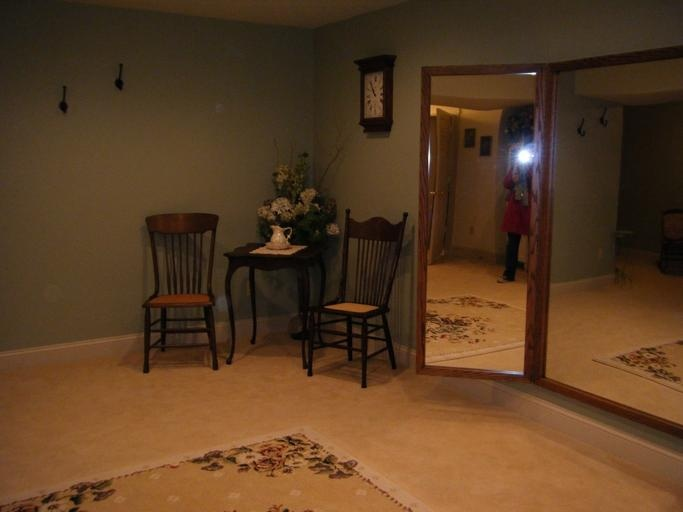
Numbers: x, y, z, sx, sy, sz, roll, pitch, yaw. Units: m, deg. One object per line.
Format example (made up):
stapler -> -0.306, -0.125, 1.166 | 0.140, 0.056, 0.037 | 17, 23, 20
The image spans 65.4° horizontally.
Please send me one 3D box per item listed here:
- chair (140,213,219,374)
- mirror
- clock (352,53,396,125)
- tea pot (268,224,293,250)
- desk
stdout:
chair -> -1.468, 0.270, 4.841 | 0.748, 1.286, 0.885 | -3, 13, -14
mirror -> 1.314, -0.191, 3.644 | 1.805, 2.279, 0.549 | 8, 15, 32
clock -> 0.306, -1.438, 4.718 | 0.148, 0.646, 0.370 | -12, 18, -41
tea pot -> -0.575, -0.183, 4.944 | 0.227, 0.219, 0.207 | 3, 1, 0
desk -> -0.655, 0.448, 5.077 | 0.756, 1.106, 0.804 | 0, 8, 9
